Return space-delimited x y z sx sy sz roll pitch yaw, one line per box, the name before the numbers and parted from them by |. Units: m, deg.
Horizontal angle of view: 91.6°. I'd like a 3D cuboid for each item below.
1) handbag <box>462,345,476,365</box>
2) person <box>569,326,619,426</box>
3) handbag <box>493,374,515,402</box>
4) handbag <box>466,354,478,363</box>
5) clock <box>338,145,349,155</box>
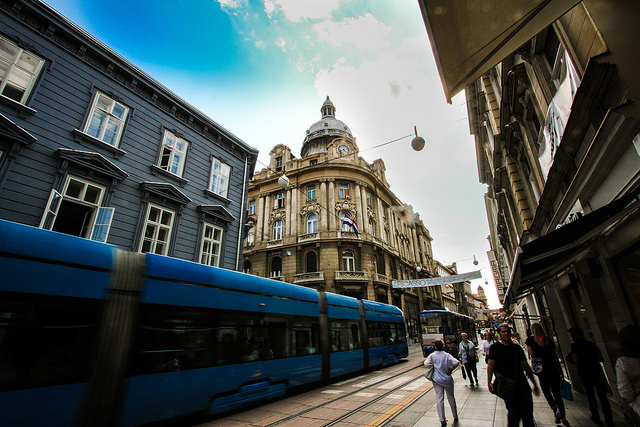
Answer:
handbag | 5.929 5.631 12.235 0.435 0.712 0.321 -6 -26 9
person | 6.967 4.167 7.952 0.622 2.239 0.724 -18 -30 31
handbag | 4.076 3.891 6.859 0.461 0.506 0.128 -11 -27 20
handbag | 6.016 5.774 12.227 0.607 0.299 0.202 17 -31 -35
clock | 2.916 -7.663 37.788 1.474 1.422 0.183 15 -30 -31
